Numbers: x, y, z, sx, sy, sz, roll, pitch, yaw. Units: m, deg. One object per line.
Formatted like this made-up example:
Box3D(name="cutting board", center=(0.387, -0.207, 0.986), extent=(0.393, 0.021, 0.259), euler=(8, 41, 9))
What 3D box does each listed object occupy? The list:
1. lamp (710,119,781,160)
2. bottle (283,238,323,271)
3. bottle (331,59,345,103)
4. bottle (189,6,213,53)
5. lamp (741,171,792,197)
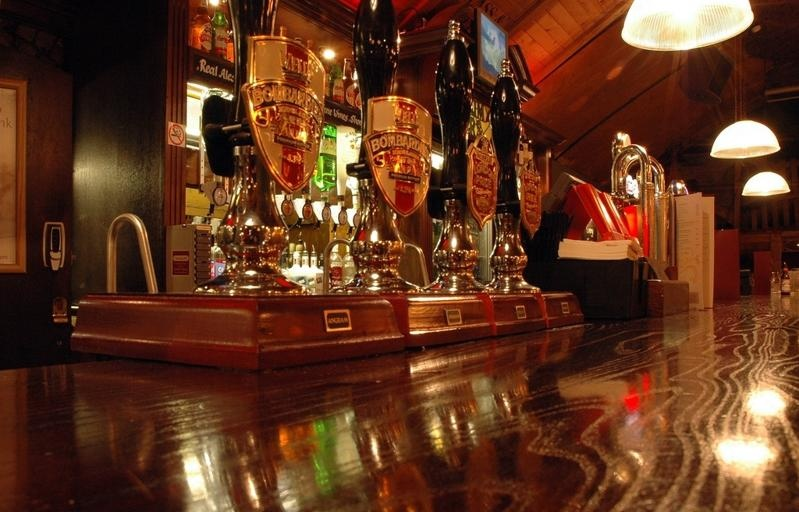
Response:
Box3D(name="lamp", center=(3.036, -0.986, 5.112), extent=(0.546, 0.296, 0.561), euler=(-3, 6, -4))
Box3D(name="bottle", center=(-0.560, 0.007, 3.479), extent=(0.245, 0.239, 0.251), euler=(0, -6, -7))
Box3D(name="bottle", center=(-0.369, -1.055, 3.561), extent=(0.081, 0.289, 0.277), euler=(0, 5, -7))
Box3D(name="bottle", center=(-0.941, -1.069, 2.781), extent=(0.095, 0.257, 0.236), euler=(0, 5, -14))
Box3D(name="lamp", center=(4.639, -0.923, 7.485), extent=(0.442, 0.280, 0.718), euler=(4, 6, 31))
